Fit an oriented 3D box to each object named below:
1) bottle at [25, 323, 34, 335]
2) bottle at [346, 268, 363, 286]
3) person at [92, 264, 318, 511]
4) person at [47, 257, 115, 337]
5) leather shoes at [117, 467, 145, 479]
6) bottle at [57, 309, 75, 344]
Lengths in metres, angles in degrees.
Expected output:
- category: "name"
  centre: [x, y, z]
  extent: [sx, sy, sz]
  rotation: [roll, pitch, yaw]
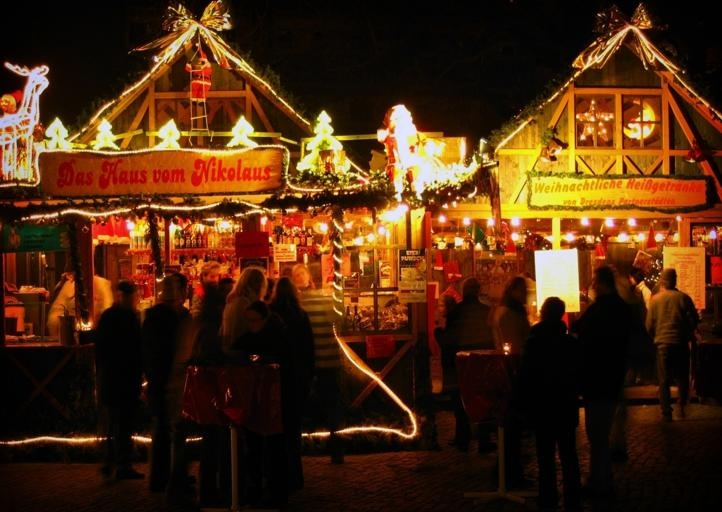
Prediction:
- category: "bottle"
  centre: [-6.369, 1.390, 17.391]
  extent: [0.241, 0.225, 0.175]
  rotation: [1, 0, -14]
- category: "bottle"
  centre: [-0.179, 0.398, 16.276]
  extent: [0.251, 0.242, 0.242]
  rotation: [4, 3, 30]
- category: "person"
  centre: [-1.422, 1.663, 11.688]
  extent: [1.613, 3.049, 1.054]
  rotation: [0, -2, -4]
- category: "person"
  centre: [-4.577, 0.707, 14.882]
  extent: [1.535, 1.486, 0.801]
  rotation: [3, 0, -14]
- category: "leather shoes"
  centre: [-3.235, 3.043, 12.700]
  extent: [0.465, 0.176, 0.151]
  rotation: [1, -2, -5]
- category: "bottle"
  centre: [-4.674, 1.150, 14.349]
  extent: [0.262, 0.544, 0.198]
  rotation: [-1, -3, 19]
